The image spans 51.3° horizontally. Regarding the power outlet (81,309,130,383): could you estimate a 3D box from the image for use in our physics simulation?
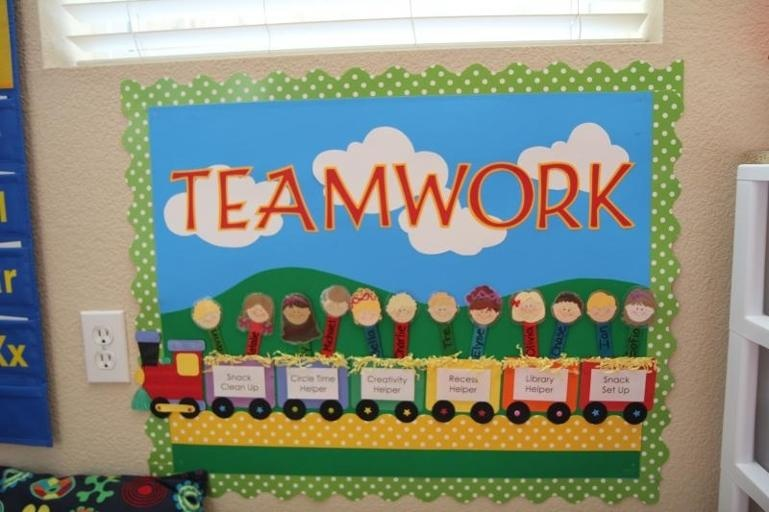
[{"bbox_3d":[-0.824,0.262,2.377,0.136,0.215,0.027,-2,6,7],"label":"power outlet"}]
